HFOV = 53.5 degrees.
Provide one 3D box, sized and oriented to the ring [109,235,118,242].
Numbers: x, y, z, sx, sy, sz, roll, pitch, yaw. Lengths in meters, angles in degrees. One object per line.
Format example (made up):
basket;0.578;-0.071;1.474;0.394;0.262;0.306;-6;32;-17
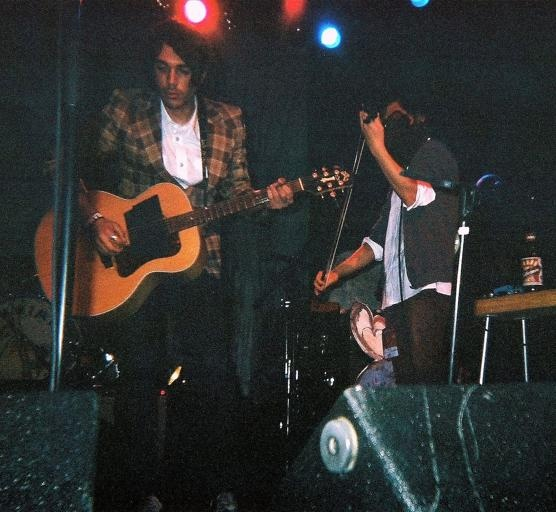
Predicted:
ring;-0.649;-0.072;2.192;0.027;0.022;0.005;3;-9;-27

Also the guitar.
guitar;-0.421;-0.079;2.254;0.996;0.441;0.140;-16;-12;-18
